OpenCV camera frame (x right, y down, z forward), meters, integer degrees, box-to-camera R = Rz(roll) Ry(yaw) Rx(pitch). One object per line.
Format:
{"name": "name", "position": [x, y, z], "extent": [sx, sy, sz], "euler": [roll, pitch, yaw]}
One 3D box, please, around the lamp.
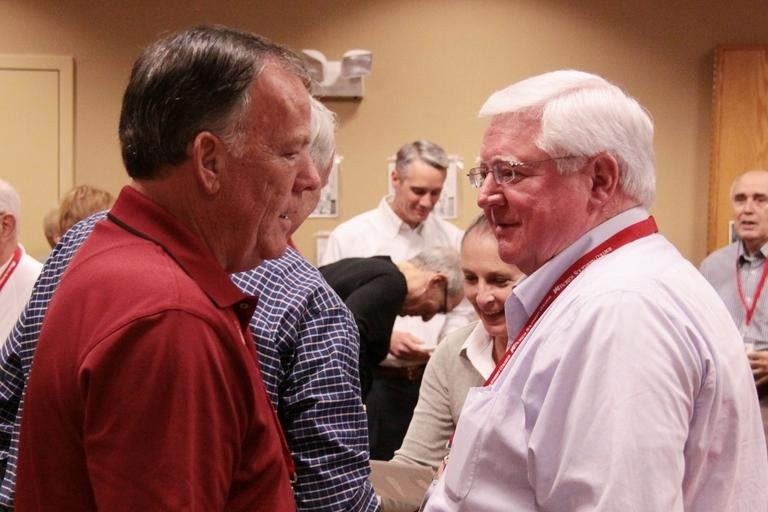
{"name": "lamp", "position": [-0.313, -1.211, 5.193], "extent": [0.436, 0.332, 0.237], "euler": [1, 43, 1]}
